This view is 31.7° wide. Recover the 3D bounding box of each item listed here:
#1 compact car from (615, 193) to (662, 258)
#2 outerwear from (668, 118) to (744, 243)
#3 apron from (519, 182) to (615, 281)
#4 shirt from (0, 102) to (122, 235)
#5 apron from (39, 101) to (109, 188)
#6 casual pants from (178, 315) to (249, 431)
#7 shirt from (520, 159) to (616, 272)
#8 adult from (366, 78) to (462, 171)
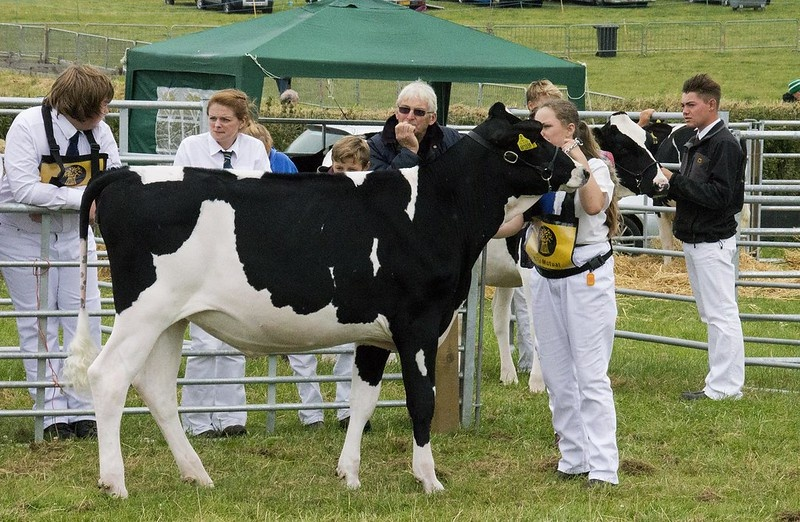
[{"bbox_3d":[3.650,-0.556,21.528,0.359,0.972,0.992,2,5,1],"label":"compact car"},{"bbox_3d":[3.835,-0.963,17.652,0.941,1.537,0.719,2,8,11],"label":"outerwear"},{"bbox_3d":[1.735,-0.133,15.960,0.896,1.145,1.185,19,-18,-35],"label":"apron"},{"bbox_3d":[-3.818,-0.987,15.908,1.243,1.406,0.961,7,10,-44],"label":"shirt"},{"bbox_3d":[-3.713,-1.297,15.985,0.927,1.153,0.505,-5,-3,-32],"label":"apron"},{"bbox_3d":[-2.185,1.392,16.733,0.783,1.233,0.405,-3,1,-15],"label":"casual pants"},{"bbox_3d":[1.881,-0.517,15.549,0.748,1.272,1.151,5,-5,-28],"label":"shirt"},{"bbox_3d":[0.261,-1.558,16.488,1.489,0.975,0.915,0,15,-6],"label":"adult"}]
